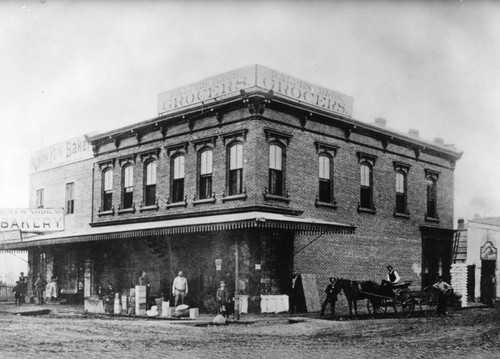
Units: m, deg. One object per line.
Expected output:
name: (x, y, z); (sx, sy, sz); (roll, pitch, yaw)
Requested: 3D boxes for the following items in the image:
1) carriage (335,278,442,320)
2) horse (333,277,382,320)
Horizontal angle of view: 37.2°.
carriage: (6.265, 5.586, 34.663); (5.069, 1.574, 2.214); (5, -11, -24)
horse: (4.923, 5.405, 34.154); (2.689, 1.697, 0.658); (1, -4, -26)
